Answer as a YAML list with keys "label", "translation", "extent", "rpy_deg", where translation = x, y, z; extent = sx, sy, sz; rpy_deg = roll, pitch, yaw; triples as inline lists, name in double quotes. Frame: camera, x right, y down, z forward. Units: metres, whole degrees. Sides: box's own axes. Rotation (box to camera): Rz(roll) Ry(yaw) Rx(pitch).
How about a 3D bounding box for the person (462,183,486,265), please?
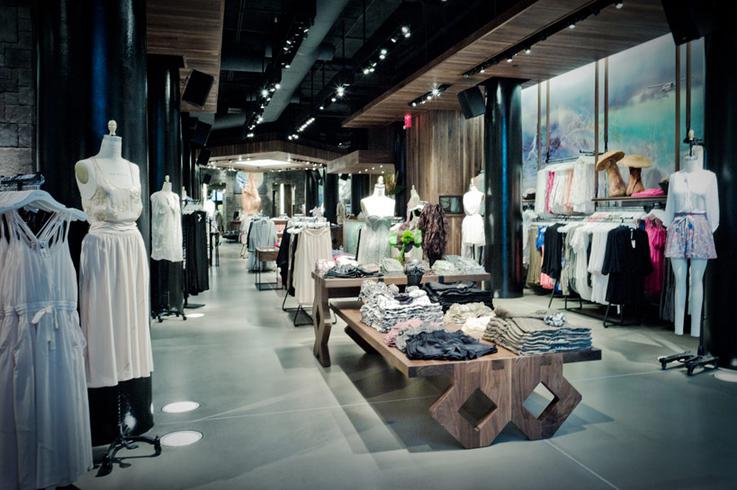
- label: "person"
  translation: [2.081, -0.453, 10.146]
  extent: [0.409, 1.700, 0.665]
  rpy_deg: [1, 10, 11]

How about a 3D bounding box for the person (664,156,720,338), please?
- label: "person"
  translation: [3.644, 0.017, 5.798]
  extent: [0.537, 2.055, 0.552]
  rpy_deg: [5, 11, 31]

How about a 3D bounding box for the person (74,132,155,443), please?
- label: "person"
  translation: [-2.021, 0.346, 4.081]
  extent: [0.526, 2.622, 0.622]
  rpy_deg: [8, 13, 42]

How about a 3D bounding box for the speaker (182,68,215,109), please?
- label: "speaker"
  translation: [-2.997, -2.762, 8.971]
  extent: [0.534, 0.595, 0.391]
  rpy_deg: [-3, 10, -16]

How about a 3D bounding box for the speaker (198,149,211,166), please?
- label: "speaker"
  translation: [-5.060, -2.723, 15.573]
  extent: [0.345, 0.460, 0.441]
  rpy_deg: [9, 14, 44]

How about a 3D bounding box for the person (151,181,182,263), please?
- label: "person"
  translation: [-2.924, -0.338, 7.346]
  extent: [0.391, 1.115, 0.347]
  rpy_deg: [-2, 10, -11]

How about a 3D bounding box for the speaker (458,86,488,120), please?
- label: "speaker"
  translation: [1.985, -2.737, 9.701]
  extent: [0.306, 0.579, 0.583]
  rpy_deg: [-15, 26, 0]
